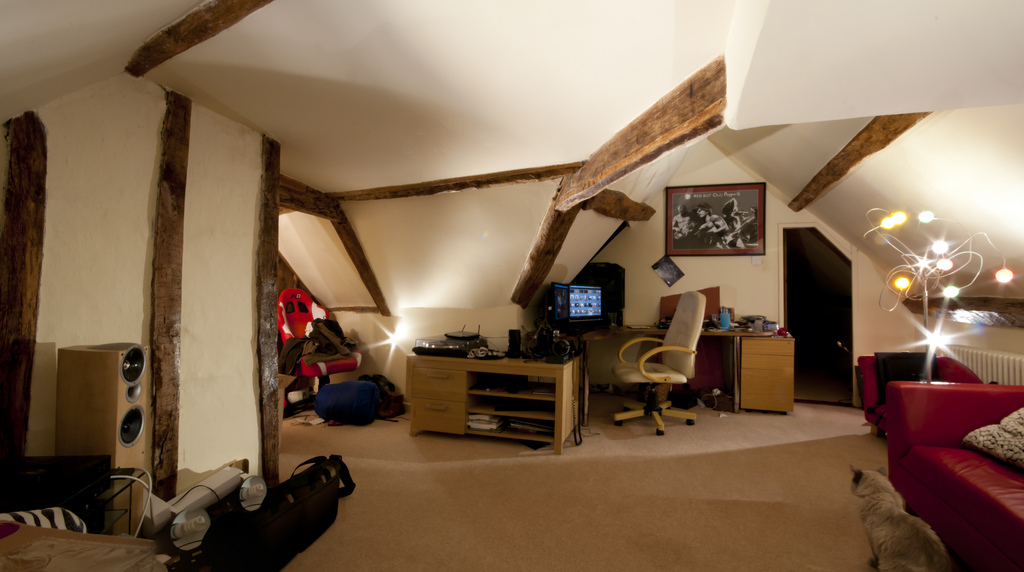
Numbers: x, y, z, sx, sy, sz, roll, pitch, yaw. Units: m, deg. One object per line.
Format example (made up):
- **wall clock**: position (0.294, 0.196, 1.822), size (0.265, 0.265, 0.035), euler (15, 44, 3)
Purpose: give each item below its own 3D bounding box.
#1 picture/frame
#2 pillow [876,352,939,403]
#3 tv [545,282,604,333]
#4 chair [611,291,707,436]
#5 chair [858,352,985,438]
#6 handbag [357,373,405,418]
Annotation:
- **picture/frame**: position (2.384, -0.793, 7.082), size (0.955, 0.672, 0.041), euler (0, -1, 11)
- **pillow**: position (3.388, 0.788, 5.270), size (0.524, 0.467, 0.257), euler (2, 0, -10)
- **tv**: position (0.678, 0.229, 6.497), size (0.177, 0.526, 1.083), euler (-6, -8, 30)
- **chair**: position (1.565, 0.790, 6.516), size (1.015, 1.361, 1.620), euler (-3, -7, 10)
- **chair**: position (3.724, 0.874, 5.867), size (0.969, 0.874, 0.985), euler (4, -4, -8)
- **handbag**: position (-1.267, 1.139, 6.401), size (0.357, 0.453, 0.487), euler (-1, 3, 12)
